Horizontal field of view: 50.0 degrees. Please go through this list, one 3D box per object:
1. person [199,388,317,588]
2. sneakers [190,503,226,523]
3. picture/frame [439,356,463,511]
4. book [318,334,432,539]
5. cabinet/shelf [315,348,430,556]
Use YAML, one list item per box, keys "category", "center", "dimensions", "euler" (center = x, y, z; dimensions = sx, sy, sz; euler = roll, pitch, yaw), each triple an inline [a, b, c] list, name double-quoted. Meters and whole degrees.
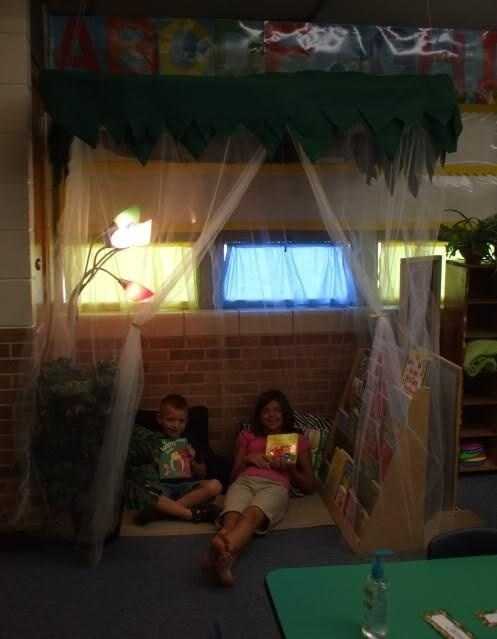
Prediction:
- category: "person"
  center: [0.056, 0.800, 2.622]
  dimensions: [0.280, 0.416, 0.892]
  euler: [2, 20, 13]
- category: "sneakers"
  center: [-0.205, 0.960, 2.672]
  dimensions: [0.182, 0.086, 0.071]
  euler: [12, 25, -17]
- category: "picture/frame"
  center: [0.959, 0.557, 2.558]
  dimensions: [0.104, 0.729, 0.212]
  euler: [3, 8, 21]
- category: "book"
  center: [0.621, 0.584, 2.564]
  dimensions: [0.256, 0.857, 0.778]
  euler: [10, 2, -2]
- category: "cabinet/shelf"
  center: [0.604, 0.656, 2.537]
  dimensions: [0.246, 0.845, 0.771]
  euler: [8, 0, -4]
